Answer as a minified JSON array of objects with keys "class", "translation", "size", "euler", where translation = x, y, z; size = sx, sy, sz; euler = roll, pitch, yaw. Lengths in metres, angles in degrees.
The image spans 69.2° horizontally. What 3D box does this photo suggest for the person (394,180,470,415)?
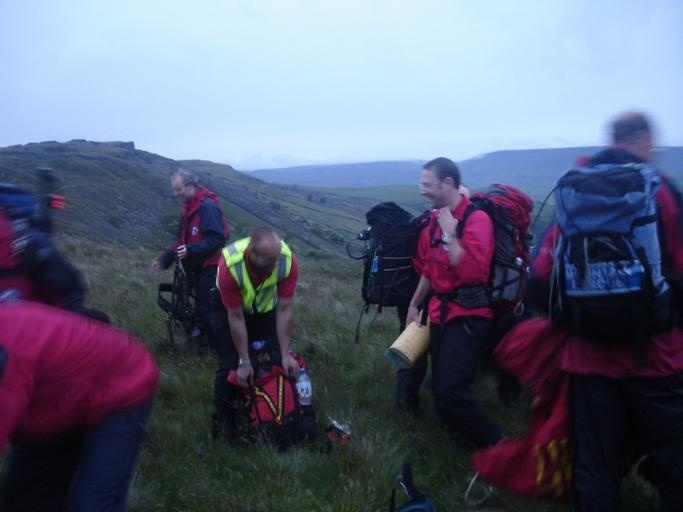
[{"class":"person","translation":[0.912,-0.006,5.932],"size":[0.544,3.643,0.549],"euler":[1,-11,36]}]
